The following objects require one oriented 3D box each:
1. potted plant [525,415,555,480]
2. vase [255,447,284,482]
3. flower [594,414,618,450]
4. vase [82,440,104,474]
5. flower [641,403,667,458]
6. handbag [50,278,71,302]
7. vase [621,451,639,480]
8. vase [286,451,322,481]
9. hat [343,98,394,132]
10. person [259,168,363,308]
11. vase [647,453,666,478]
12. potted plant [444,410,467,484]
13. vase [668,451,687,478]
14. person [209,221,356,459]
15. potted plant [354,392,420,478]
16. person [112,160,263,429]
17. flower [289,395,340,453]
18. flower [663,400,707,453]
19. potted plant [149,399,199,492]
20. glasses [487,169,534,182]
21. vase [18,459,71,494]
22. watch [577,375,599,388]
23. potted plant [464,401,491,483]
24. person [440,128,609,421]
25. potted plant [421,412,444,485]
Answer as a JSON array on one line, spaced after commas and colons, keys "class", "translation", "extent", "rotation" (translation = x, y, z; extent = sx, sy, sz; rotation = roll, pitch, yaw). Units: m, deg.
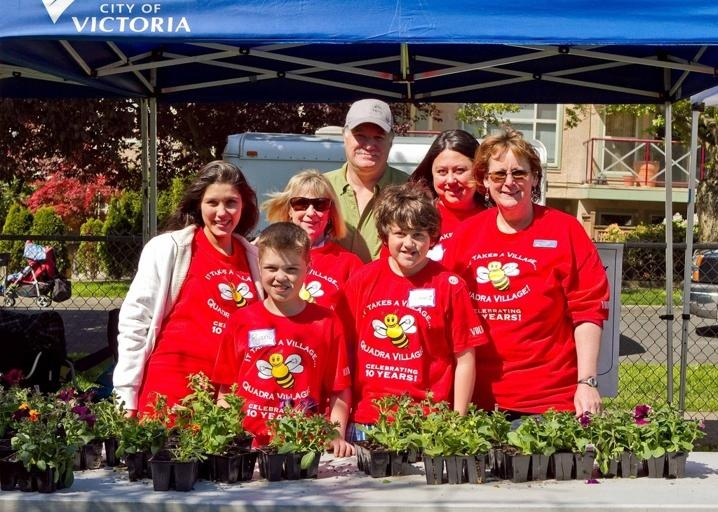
[{"class": "potted plant", "translation": [1.068, 1.148, 5.811], "extent": [0.198, 0.349, 0.170], "rotation": [-1, -4, -9]}, {"class": "vase", "translation": [-0.525, 1.230, 5.739], "extent": [0.176, 0.182, 0.069], "rotation": [-4, -4, 31]}, {"class": "flower", "translation": [1.484, 1.053, 5.844], "extent": [0.163, 0.164, 0.095], "rotation": [-14, -5, -43]}, {"class": "vase", "translation": [-1.599, 1.198, 5.898], "extent": [0.073, 0.172, 0.143], "rotation": [-4, -5, 41]}, {"class": "flower", "translation": [1.771, 1.072, 5.868], "extent": [0.134, 0.264, 0.206], "rotation": [-3, -4, 26]}, {"class": "handbag", "translation": [-5.221, 0.600, 17.019], "extent": [0.191, 0.248, 0.356], "rotation": [8, 4, -15]}, {"class": "vase", "translation": [1.625, 1.245, 5.838], "extent": [0.133, 0.151, 0.051], "rotation": [0, -4, -23]}, {"class": "vase", "translation": [-0.328, 1.245, 5.767], "extent": [0.185, 0.104, 0.125], "rotation": [0, -1, -8]}, {"class": "hat", "translation": [0.068, -1.003, 6.959], "extent": [0.338, 0.270, 0.241], "rotation": [-1, -4, -1]}, {"class": "person", "translation": [-0.302, -0.089, 6.550], "extent": [0.761, 1.382, 0.459], "rotation": [-2, -36, -6]}, {"class": "vase", "translation": [1.768, 1.246, 5.824], "extent": [0.132, 0.168, 0.116], "rotation": [-1, -6, -1]}, {"class": "potted plant", "translation": [0.570, 1.137, 5.793], "extent": [0.134, 0.400, 0.176], "rotation": [-1, -4, 4]}, {"class": "vase", "translation": [1.892, 1.242, 5.817], "extent": [0.118, 0.152, 0.050], "rotation": [-1, -4, -9]}, {"class": "person", "translation": [-0.510, 0.599, 6.104], "extent": [0.907, 1.537, 0.758], "rotation": [4, 4, 0]}, {"class": "potted plant", "translation": [0.182, 1.059, 5.837], "extent": [0.413, 0.428, 0.430], "rotation": [0, -3, -6]}, {"class": "person", "translation": [-1.086, 0.498, 6.714], "extent": [1.098, 2.273, 0.620], "rotation": [-7, 17, -37]}, {"class": "flower", "translation": [-0.276, 1.021, 5.813], "extent": [0.285, 0.267, 0.208], "rotation": [-2, -4, 14]}, {"class": "flower", "translation": [1.959, 1.046, 5.931], "extent": [0.245, 0.266, 0.345], "rotation": [-3, -4, 18]}, {"class": "potted plant", "translation": [-1.033, 1.136, 5.875], "extent": [0.381, 0.569, 0.587], "rotation": [2, -5, -2]}, {"class": "glasses", "translation": [0.965, -0.506, 6.281], "extent": [0.247, 0.080, 0.063], "rotation": [-2, -4, 8]}, {"class": "vase", "translation": [-1.806, 1.264, 5.585], "extent": [0.234, 0.131, 0.164], "rotation": [1, -6, -2]}, {"class": "watch", "translation": [1.471, 0.804, 6.234], "extent": [0.104, 0.065, 0.098], "rotation": [6, -21, -20]}, {"class": "potted plant", "translation": [0.702, 1.122, 5.842], "extent": [0.150, 0.437, 0.246], "rotation": [-2, -4, 6]}, {"class": "person", "translation": [0.967, 0.164, 6.354], "extent": [1.149, 1.753, 0.960], "rotation": [-2, 12, 15]}, {"class": "potted plant", "translation": [0.434, 1.140, 5.766], "extent": [0.125, 0.393, 0.153], "rotation": [-1, -4, 3]}]
